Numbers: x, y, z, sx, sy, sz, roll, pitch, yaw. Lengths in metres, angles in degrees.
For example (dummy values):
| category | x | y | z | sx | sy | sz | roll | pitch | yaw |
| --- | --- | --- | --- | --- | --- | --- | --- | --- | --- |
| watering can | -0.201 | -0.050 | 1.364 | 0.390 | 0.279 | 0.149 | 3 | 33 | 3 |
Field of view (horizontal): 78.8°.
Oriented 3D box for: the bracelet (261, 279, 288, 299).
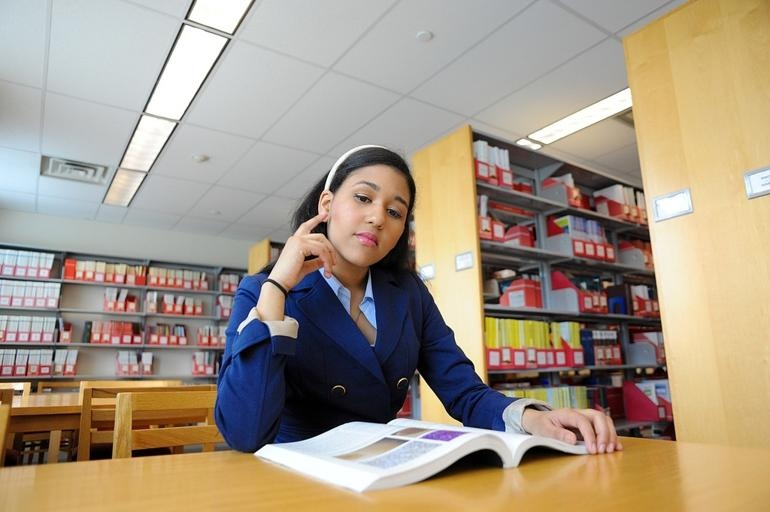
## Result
| category | x | y | z | sx | sy | sz | roll | pitch | yaw |
| --- | --- | --- | --- | --- | --- | --- | --- | --- | --- |
| bracelet | -0.334 | 0.098 | 1.445 | 0.079 | 0.058 | 0.047 | -1 | 4 | -10 |

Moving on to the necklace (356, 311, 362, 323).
| category | x | y | z | sx | sy | sz | roll | pitch | yaw |
| --- | --- | --- | --- | --- | --- | --- | --- | --- | --- |
| necklace | -0.094 | 0.210 | 1.615 | 0.024 | 0.031 | 0.033 | -5 | -35 | -15 |

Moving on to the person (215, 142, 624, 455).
| category | x | y | z | sx | sy | sz | roll | pitch | yaw |
| --- | --- | --- | --- | --- | --- | --- | --- | --- | --- |
| person | 0.026 | 0.098 | 1.582 | 1.034 | 0.969 | 0.679 | -1 | 4 | 3 |
